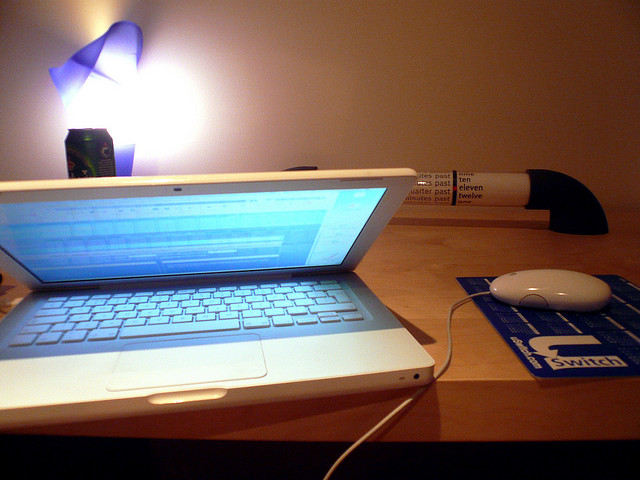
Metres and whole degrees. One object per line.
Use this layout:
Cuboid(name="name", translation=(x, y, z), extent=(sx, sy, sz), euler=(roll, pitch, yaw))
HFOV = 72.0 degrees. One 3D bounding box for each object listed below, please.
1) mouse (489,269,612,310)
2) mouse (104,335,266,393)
Cuboid(name="mouse", translation=(0.345, 0.071, 0.649), extent=(0.136, 0.028, 0.072), euler=(2, 9, 13))
Cuboid(name="mouse", translation=(-0.154, 0.148, 0.539), extent=(0.199, 0.072, 0.008), euler=(7, -25, -27))
